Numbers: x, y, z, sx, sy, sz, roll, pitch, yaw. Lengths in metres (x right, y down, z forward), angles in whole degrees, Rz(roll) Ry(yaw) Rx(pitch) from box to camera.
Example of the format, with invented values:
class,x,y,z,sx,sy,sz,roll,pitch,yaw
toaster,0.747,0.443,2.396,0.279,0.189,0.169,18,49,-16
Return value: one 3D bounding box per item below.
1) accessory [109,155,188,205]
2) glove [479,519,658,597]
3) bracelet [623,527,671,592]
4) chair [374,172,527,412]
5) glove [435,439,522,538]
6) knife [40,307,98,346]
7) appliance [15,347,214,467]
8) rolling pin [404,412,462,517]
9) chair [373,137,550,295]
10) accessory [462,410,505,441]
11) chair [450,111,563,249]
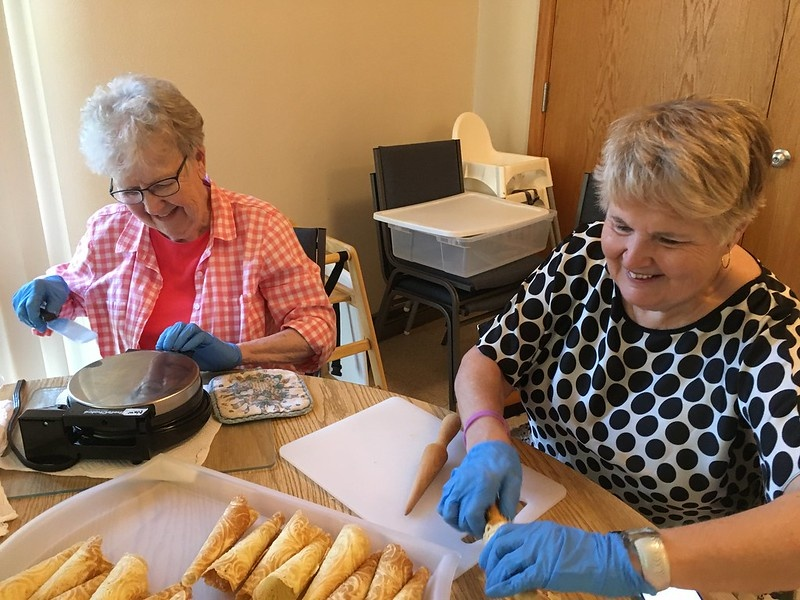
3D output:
class,x,y,z,sx,sy,sz,roll,pitch,yaw
accessory,-0.688,-0.317,1.678,0.232,0.115,0.081,-1,23,6
glove,0.275,0.452,1.078,0.219,0.072,0.144,-7,42,12
bracelet,0.424,0.442,1.068,0.045,0.099,0.075,-26,10,19
chair,0.295,-0.094,2.888,0.498,0.975,0.573,-10,27,-44
glove,0.152,0.376,1.237,0.126,0.073,0.173,33,74,0
knife,-0.945,0.095,1.791,0.335,0.039,0.082,19,53,43
appliance,-0.603,0.236,1.303,0.264,0.096,0.251,-10,28,-22
rolling pin,0.077,0.328,1.360,0.050,0.058,0.319,9,31,23
chair,0.309,-0.480,2.968,0.736,0.794,0.715,19,30,39
accessory,0.174,0.265,1.374,0.060,0.016,0.062,-22,8,44
chair,0.540,-0.595,3.292,0.550,0.708,0.616,2,20,21
